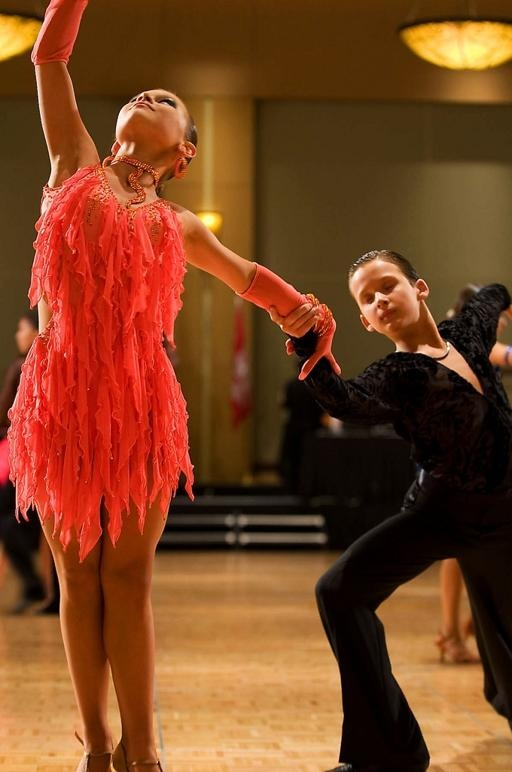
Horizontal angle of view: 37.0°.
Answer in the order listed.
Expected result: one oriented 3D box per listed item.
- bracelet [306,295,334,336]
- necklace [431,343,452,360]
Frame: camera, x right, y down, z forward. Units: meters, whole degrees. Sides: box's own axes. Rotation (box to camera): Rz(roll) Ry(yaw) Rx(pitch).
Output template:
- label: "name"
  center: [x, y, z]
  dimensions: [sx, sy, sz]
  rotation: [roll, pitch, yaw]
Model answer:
- label: "bracelet"
  center: [0.143, -0.152, 1.635]
  dimensions: [0.035, 0.079, 0.073]
  rotation: [-16, -6, -34]
- label: "necklace"
  center: [0.410, -0.067, 1.664]
  dimensions: [0.045, 0.010, 0.042]
  rotation: [-20, 32, 15]
